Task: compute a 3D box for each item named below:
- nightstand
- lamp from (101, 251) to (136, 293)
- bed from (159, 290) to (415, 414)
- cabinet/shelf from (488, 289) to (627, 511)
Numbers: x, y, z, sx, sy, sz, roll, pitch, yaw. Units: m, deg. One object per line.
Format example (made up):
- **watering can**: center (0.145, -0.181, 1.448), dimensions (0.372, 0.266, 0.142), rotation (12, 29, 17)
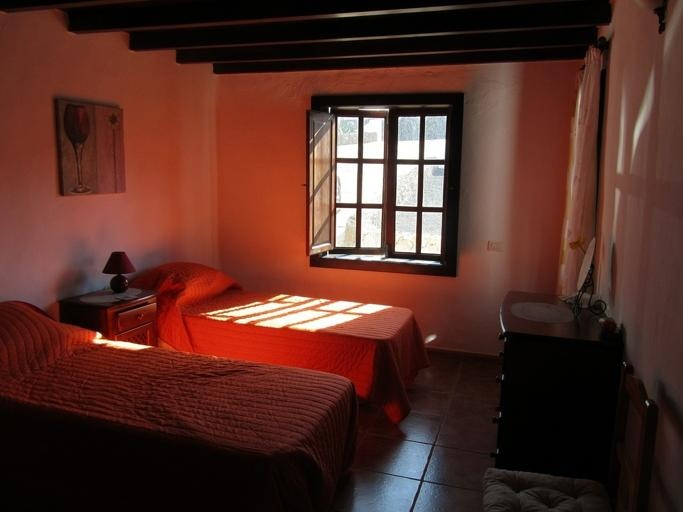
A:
- **nightstand**: center (-1.898, 0.447, 4.446), dimensions (0.470, 0.581, 0.567), rotation (4, 9, 21)
- **lamp**: center (-1.885, 0.127, 4.592), dimensions (0.233, 0.344, 0.269), rotation (0, 15, -14)
- **bed**: center (-0.346, 0.755, 4.566), dimensions (1.633, 0.449, 0.988), rotation (4, 13, 21)
- **cabinet/shelf**: center (1.295, 0.761, 3.451), dimensions (0.759, 1.063, 1.417), rotation (5, 6, 23)
